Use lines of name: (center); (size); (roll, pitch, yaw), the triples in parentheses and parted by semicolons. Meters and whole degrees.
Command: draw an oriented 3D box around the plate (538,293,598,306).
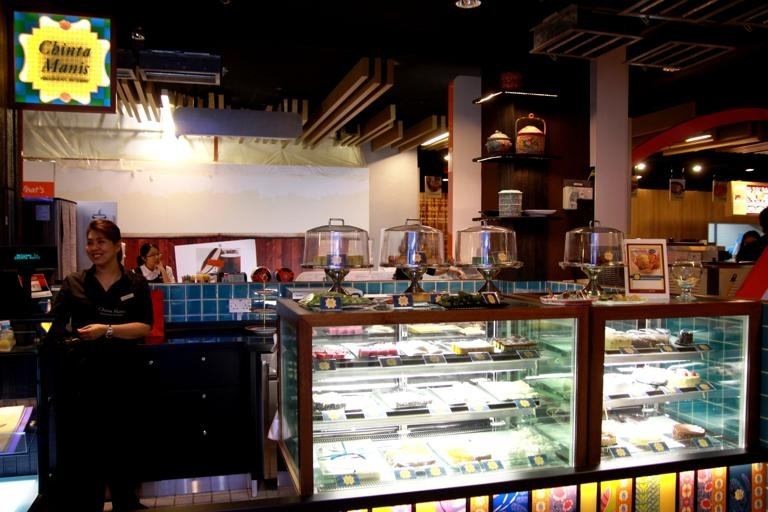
plate: (1.280, 0.298, 4.019); (0.361, 0.062, 0.280); (-1, 2, 17)

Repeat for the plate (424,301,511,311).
plate: (0.569, 0.336, 3.882); (0.486, 0.034, 0.154); (-2, 2, 2)

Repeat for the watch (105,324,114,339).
watch: (-2.101, 0.580, 4.416); (0.064, 0.086, 0.089); (2, 8, -26)

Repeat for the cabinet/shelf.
cabinet/shelf: (0.715, 0.906, 4.274); (4.009, 1.116, 1.328); (-1, 4, -6)

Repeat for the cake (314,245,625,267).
cake: (0.880, 0.025, 4.352); (1.780, 0.163, 0.200); (-2, 2, 5)

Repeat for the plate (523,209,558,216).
plate: (1.763, -0.485, 6.589); (0.333, 0.088, 0.177); (-2, 2, -5)
